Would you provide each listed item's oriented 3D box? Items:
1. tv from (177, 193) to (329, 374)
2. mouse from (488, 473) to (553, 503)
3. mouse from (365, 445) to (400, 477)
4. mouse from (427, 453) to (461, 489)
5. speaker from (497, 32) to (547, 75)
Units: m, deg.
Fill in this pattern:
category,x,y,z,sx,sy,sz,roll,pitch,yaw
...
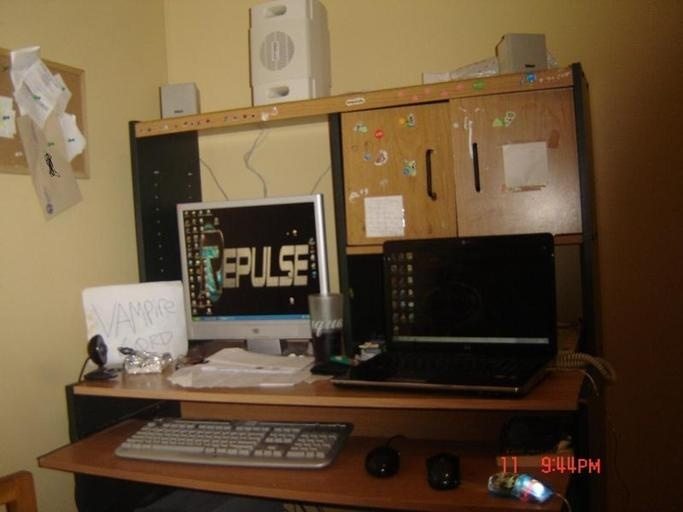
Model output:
category,x,y,z,sx,sy,sz,roll,pitch,yaw
tv,-0.323,0.106,2.120,0.559,0.575,0.185,-4,-10,9
mouse,0.485,0.599,1.527,0.134,0.041,0.071,-3,2,35
mouse,0.117,0.591,1.645,0.076,0.026,0.081,-1,25,2
mouse,0.282,0.594,1.586,0.077,0.070,0.079,-2,-10,3
speaker,0.652,-0.738,2.077,0.174,0.167,0.177,-1,0,14
